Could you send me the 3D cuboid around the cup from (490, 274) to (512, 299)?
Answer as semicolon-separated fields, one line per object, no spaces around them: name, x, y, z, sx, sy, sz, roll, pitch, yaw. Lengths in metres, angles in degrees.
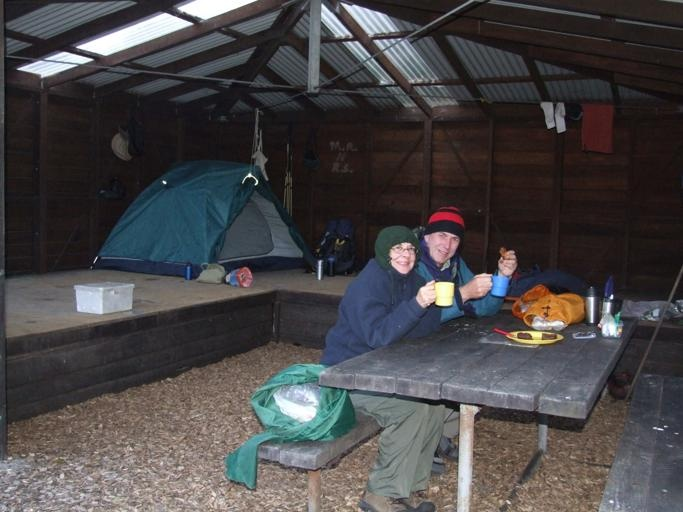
cup;0.987;0.191;3.382;0.148;0.136;0.118;18;-12;-39

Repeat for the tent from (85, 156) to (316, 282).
tent;-1.775;-0.458;8.138;2.368;1.258;2.291;5;9;31

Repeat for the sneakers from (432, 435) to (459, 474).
sneakers;0.742;1.432;3.861;0.122;0.143;0.362;1;-2;30

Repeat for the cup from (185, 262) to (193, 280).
cup;-1.994;0.192;7.064;0.094;0.204;0.171;0;10;-15

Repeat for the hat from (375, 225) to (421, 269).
hat;0.312;-0.059;3.403;0.218;0.213;0.285;5;-4;-36

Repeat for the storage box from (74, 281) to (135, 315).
storage box;-2.239;0.376;5.042;0.330;0.203;0.422;7;7;30

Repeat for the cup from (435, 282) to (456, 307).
cup;0.586;0.213;2.978;0.115;0.110;0.138;2;-3;12

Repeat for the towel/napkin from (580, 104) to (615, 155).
towel/napkin;3.877;-1.974;8.173;0.545;0.725;0.256;4;10;8

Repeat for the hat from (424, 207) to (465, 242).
hat;0.742;-0.248;3.759;0.244;0.188;0.242;18;-13;-24

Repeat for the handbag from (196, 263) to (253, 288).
handbag;-1.446;0.251;6.747;0.510;0.176;0.354;4;1;16
